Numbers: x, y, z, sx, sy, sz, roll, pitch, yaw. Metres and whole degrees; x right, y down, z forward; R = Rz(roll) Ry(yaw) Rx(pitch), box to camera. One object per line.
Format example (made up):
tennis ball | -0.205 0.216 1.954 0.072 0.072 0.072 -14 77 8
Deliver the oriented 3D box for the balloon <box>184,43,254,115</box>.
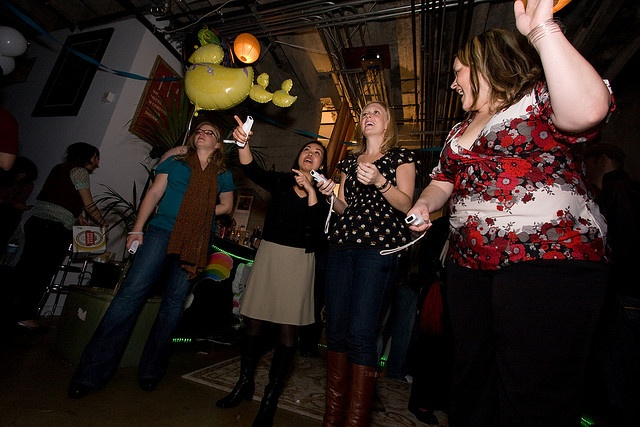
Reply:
balloon | -0.836 -1.073 3.119 0.609 0.577 0.241 45 -16 39

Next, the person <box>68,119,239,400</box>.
person | -1.110 0.277 2.739 0.745 2.158 0.389 16 -15 -26

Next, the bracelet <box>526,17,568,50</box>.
bracelet | 0.989 -0.804 1.613 0.122 0.122 0.055 -29 -56 26

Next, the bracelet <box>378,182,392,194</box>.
bracelet | 0.383 -0.132 2.169 0.048 0.060 0.060 36 6 -11

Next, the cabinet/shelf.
cabinet/shelf | -1.797 0.921 2.970 0.568 0.356 0.555 26 -22 -21

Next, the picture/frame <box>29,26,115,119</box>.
picture/frame | -3.472 -1.992 5.171 1.108 1.452 0.116 4 -15 24

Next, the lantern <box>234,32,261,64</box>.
lantern | -0.903 -2.043 4.520 0.354 0.347 0.225 7 27 -12

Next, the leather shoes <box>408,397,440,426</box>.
leather shoes | 0.761 1.533 2.711 0.073 0.225 0.227 -3 23 47
